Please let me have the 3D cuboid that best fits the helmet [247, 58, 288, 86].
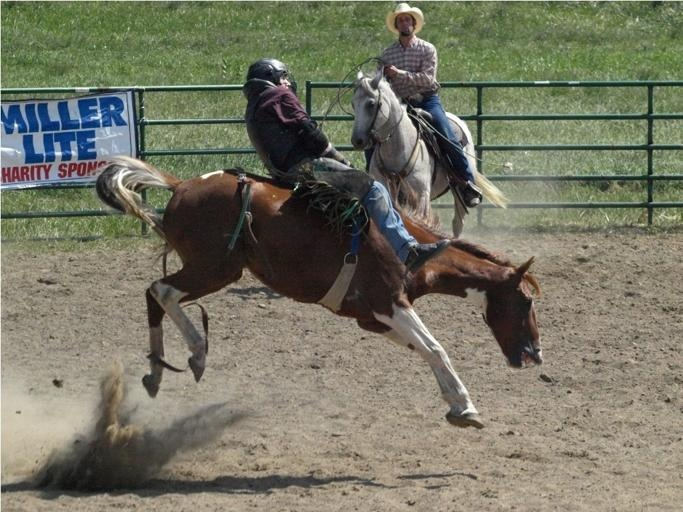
[{"bbox_3d":[-0.878,-2.191,16.272,0.380,0.310,0.307,-26,11,-5],"label":"helmet"}]
